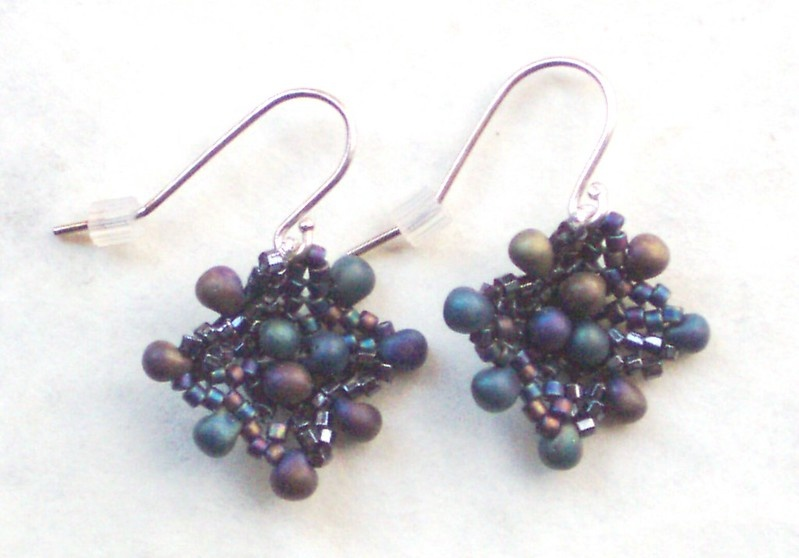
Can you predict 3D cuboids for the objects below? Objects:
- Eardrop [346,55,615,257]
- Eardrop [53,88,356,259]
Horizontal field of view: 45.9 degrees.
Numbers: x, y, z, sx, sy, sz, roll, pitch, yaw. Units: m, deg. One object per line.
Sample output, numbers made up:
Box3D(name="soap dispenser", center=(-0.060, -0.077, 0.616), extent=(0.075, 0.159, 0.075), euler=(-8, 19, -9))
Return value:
Box3D(name="Eardrop", center=(0.225, -0.296, 2.498), extent=(0.428, 0.096, 0.712), euler=(34, 82, 14))
Box3D(name="Eardrop", center=(-0.512, -0.280, 2.539), extent=(0.707, 0.100, 0.418), euler=(-42, 75, -9))
